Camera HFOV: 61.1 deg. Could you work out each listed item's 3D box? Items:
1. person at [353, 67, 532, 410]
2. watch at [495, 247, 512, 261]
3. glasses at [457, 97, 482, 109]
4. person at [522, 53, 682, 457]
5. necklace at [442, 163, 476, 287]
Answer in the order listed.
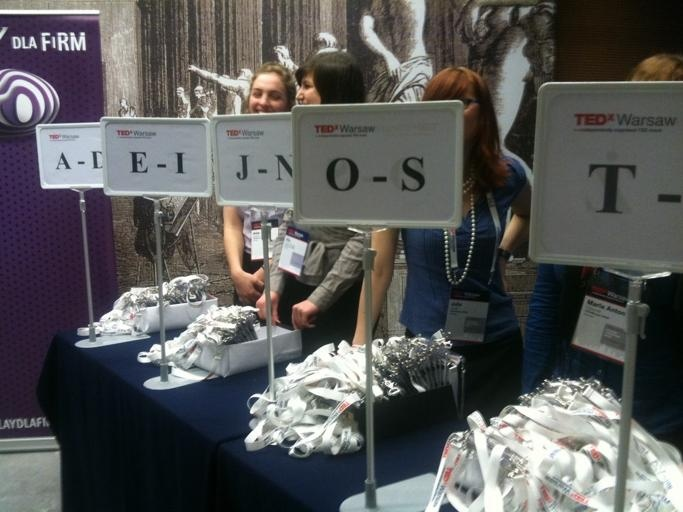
[{"bbox_3d":[0.377,0.193,2.165,0.743,1.677,0.380,-6,19,-9],"label":"person"},{"bbox_3d":[0.600,-0.004,2.121,0.044,0.022,0.053,4,-5,-10],"label":"watch"},{"bbox_3d":[0.435,-0.521,1.975,0.087,0.036,0.034,-12,15,-37],"label":"glasses"},{"bbox_3d":[0.755,-0.020,1.582,0.385,1.028,0.505,-1,11,6],"label":"person"},{"bbox_3d":[0.429,-0.085,2.016,0.144,0.371,0.080,-11,14,-40],"label":"necklace"}]
